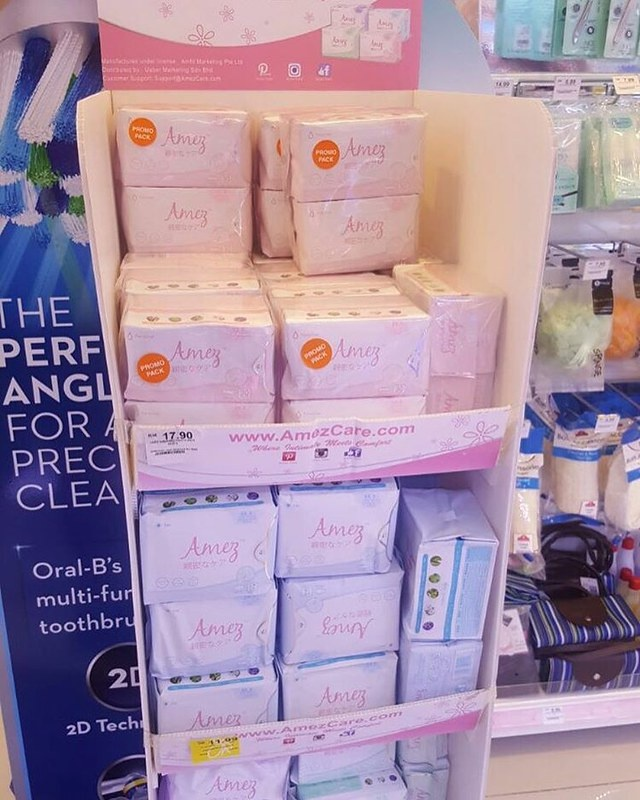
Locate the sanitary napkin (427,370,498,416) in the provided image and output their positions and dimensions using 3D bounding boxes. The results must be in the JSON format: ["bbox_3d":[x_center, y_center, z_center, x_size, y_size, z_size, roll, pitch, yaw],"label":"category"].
[{"bbox_3d":[0.243,-0.009,1.231,0.089,0.083,0.020,2,25,-7],"label":"sanitary napkin"}]

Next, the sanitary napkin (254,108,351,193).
[{"bbox_3d":[-0.036,-0.467,1.324,0.175,0.162,0.162,0,26,-5],"label":"sanitary napkin"}]

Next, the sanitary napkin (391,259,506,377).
[{"bbox_3d":[0.221,-0.174,1.324,0.169,0.285,0.210,-4,12,-3],"label":"sanitary napkin"}]

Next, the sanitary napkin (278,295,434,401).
[{"bbox_3d":[0.047,-0.082,1.142,0.236,0.147,0.134,-6,23,-11],"label":"sanitary napkin"}]

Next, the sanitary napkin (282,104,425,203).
[{"bbox_3d":[0.050,-0.441,1.296,0.304,0.189,0.162,-7,37,-14],"label":"sanitary napkin"}]
